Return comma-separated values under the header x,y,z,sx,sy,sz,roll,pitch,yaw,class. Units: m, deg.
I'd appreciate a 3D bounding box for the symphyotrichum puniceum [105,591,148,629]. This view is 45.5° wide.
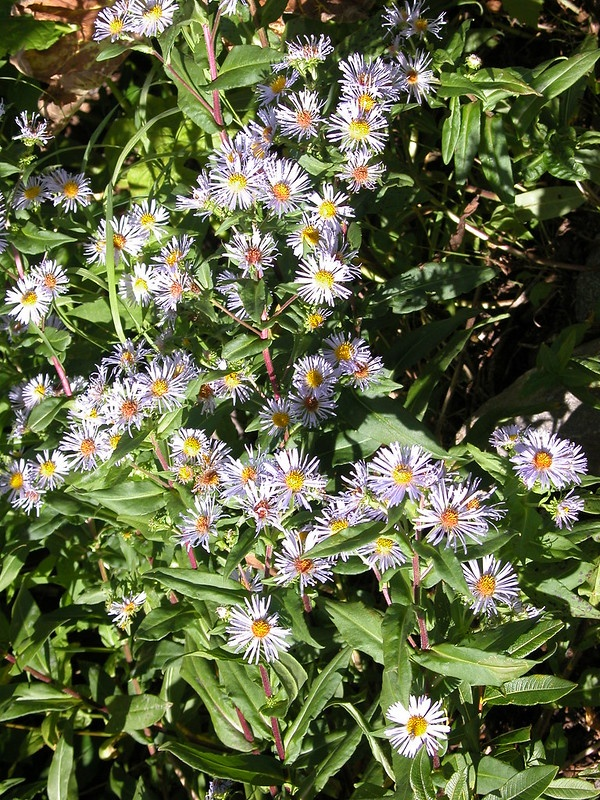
x,y,z,sx,sy,sz,roll,pitch,yaw,class
-0.328,0.404,1.394,0.090,0.025,0.085,-27,33,16,symphyotrichum puniceum

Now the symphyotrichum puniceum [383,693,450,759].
x,y,z,sx,sy,sz,roll,pitch,yaw,class
0.167,0.469,1.027,0.092,0.104,0.060,-22,42,-9,symphyotrichum puniceum
